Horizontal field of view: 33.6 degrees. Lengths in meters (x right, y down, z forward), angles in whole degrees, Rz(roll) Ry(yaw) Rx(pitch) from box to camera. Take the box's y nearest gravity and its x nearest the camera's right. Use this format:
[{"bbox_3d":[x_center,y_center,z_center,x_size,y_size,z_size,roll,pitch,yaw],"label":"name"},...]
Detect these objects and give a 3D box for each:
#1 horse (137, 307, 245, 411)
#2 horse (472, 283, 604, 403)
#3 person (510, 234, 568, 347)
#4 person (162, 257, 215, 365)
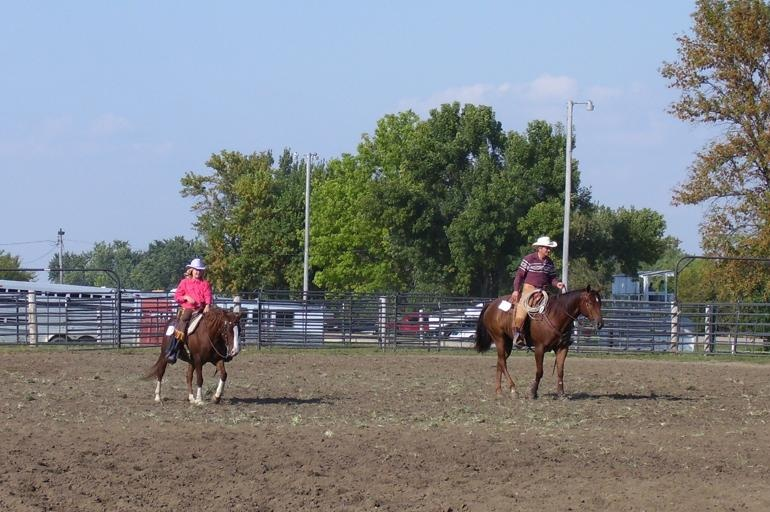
[{"bbox_3d":[-5.512,2.887,36.962,2.038,2.766,3.056,4,-4,-35],"label":"horse"},{"bbox_3d":[4.488,2.526,37.689,1.673,3.309,4.087,5,-4,-43],"label":"horse"},{"bbox_3d":[4.474,1.005,37.715,1.341,3.116,1.033,4,7,10],"label":"person"},{"bbox_3d":[-5.569,1.647,37.054,1.178,3.200,1.142,1,4,-22],"label":"person"}]
